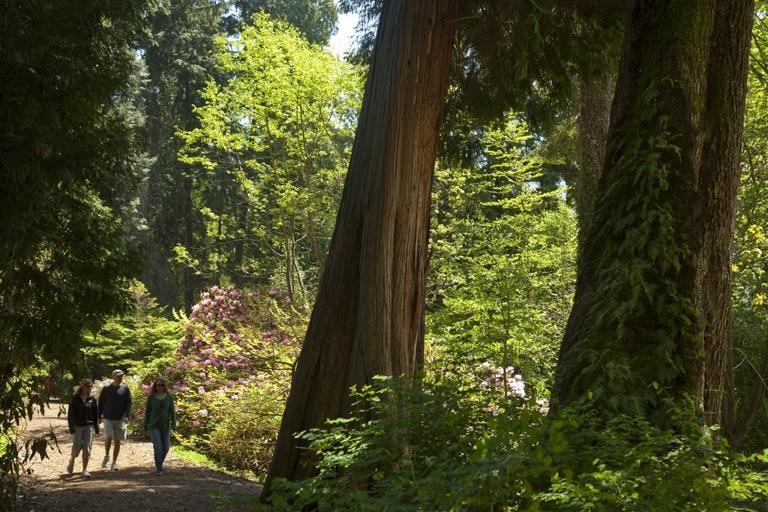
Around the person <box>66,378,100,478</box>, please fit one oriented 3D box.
[{"bbox_3d":[-5.152,2.931,11.659,0.474,1.595,0.625,6,-10,-16],"label":"person"}]

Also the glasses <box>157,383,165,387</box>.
[{"bbox_3d":[-3.835,2.245,11.794,0.052,0.063,0.132,-5,-13,37],"label":"glasses"}]

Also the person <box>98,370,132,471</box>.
[{"bbox_3d":[-4.888,2.943,12.288,0.529,1.742,0.760,7,-11,-23],"label":"person"}]

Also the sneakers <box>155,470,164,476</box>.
[{"bbox_3d":[-3.946,3.815,11.982,0.068,0.084,0.193,1,-20,-5],"label":"sneakers"}]

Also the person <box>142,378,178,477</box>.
[{"bbox_3d":[-3.928,2.989,11.936,0.524,1.632,0.628,6,-10,-16],"label":"person"}]

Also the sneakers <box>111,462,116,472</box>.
[{"bbox_3d":[-4.792,3.763,12.102,0.102,0.195,0.112,-1,-2,-21],"label":"sneakers"}]
